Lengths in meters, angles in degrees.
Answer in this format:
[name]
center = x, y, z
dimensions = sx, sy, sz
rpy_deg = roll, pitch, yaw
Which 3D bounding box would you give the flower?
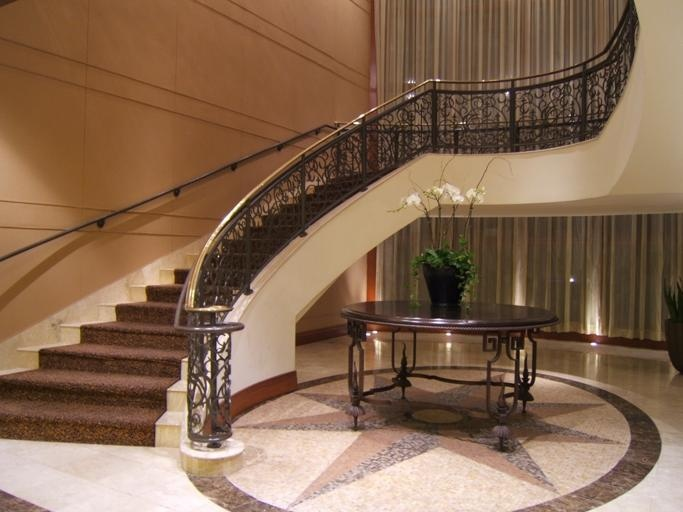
[flower]
center = 1.105, -0.230, 5.490
dimensions = 1.146, 1.455, 0.718
rpy_deg = 1, 3, -30

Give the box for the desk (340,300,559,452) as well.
[desk]
center = 1.267, 1.031, 6.343
dimensions = 1.949, 1.198, 3.822
rpy_deg = 1, 3, 12

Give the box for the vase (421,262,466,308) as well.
[vase]
center = 0.968, 0.305, 5.433
dimensions = 0.403, 0.370, 0.425
rpy_deg = -1, -8, -22
